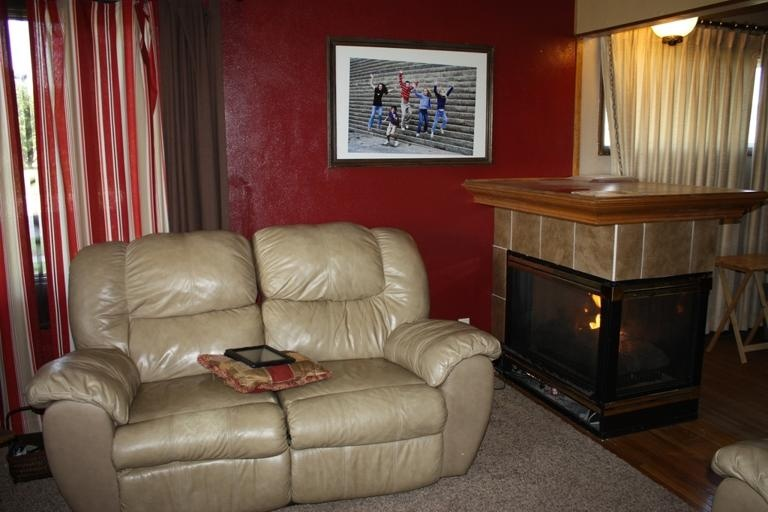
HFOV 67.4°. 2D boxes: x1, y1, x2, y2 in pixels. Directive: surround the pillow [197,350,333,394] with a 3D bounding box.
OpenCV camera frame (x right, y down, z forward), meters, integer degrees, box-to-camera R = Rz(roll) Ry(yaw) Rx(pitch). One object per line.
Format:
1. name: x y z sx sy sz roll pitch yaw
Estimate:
1. pillow: -0.676 0.714 3.449 0.382 0.101 0.373 -1 7 -33
